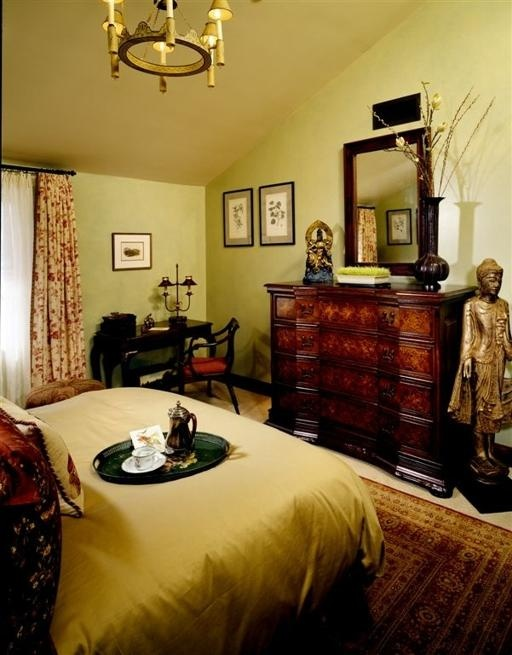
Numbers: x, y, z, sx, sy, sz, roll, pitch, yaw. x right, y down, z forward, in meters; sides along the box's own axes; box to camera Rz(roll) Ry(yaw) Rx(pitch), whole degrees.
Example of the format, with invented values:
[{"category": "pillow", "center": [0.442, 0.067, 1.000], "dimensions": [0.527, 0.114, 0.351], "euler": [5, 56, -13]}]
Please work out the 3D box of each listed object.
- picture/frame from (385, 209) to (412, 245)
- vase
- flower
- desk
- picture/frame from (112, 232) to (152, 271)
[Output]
[{"category": "picture/frame", "center": [1.099, -0.776, 3.854], "dimensions": [0.017, 0.382, 0.287], "euler": [-3, 3, -39]}, {"category": "vase", "center": [1.167, -0.553, 3.326], "dimensions": [0.201, 0.587, 0.403], "euler": [3, 10, 12]}, {"category": "flower", "center": [1.344, -1.346, 3.749], "dimensions": [0.753, 0.889, 0.838], "euler": [-2, 6, -18]}, {"category": "desk", "center": [-1.012, 0.255, 4.738], "dimensions": [0.329, 0.593, 0.819], "euler": [12, 14, 39]}, {"category": "picture/frame", "center": [-1.295, -0.770, 5.109], "dimensions": [0.029, 0.348, 0.424], "euler": [4, 6, 38]}]
